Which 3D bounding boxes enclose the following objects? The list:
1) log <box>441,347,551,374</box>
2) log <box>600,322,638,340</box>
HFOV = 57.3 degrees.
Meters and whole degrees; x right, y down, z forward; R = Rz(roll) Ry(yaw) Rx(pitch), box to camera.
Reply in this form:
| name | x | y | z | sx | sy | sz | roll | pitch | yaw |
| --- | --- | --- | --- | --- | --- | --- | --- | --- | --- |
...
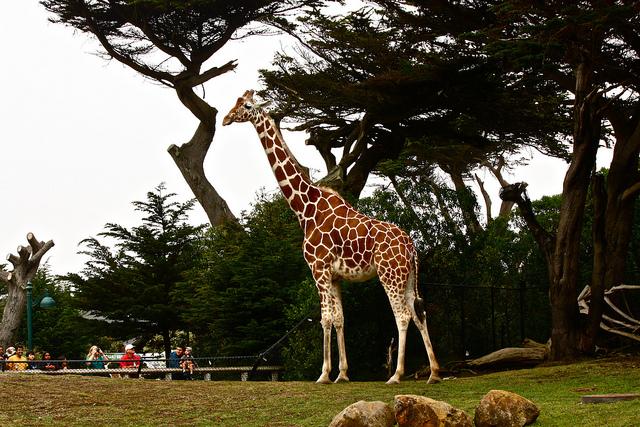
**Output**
| name | x | y | z | sx | sy | sz | roll | pitch | yaw |
| --- | --- | --- | --- | --- | --- | --- | --- | --- | --- |
| log | 5.397 | 4.180 | 17.004 | 2.437 | 0.629 | 0.494 | -3 | -15 | 16 |
| log | 8.165 | 3.167 | 15.983 | 0.422 | 0.502 | 1.189 | 9 | -16 | -28 |
